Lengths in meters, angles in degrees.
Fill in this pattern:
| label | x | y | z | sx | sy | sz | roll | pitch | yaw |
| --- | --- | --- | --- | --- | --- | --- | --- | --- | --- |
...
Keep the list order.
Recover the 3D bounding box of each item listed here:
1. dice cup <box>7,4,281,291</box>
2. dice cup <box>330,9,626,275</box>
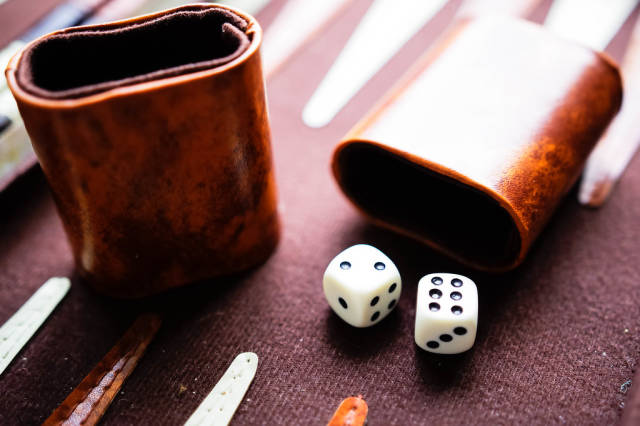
| label | x | y | z | sx | sy | sz | roll | pitch | yaw |
| --- | --- | --- | --- | --- | --- | --- | --- | --- | --- |
| dice cup | -0.367 | -0.111 | 1.231 | 0.498 | 0.592 | 0.329 | -13 | 54 | -6 |
| dice cup | 0.384 | -0.195 | 1.420 | 0.469 | 0.245 | 0.626 | 34 | 63 | 20 |
